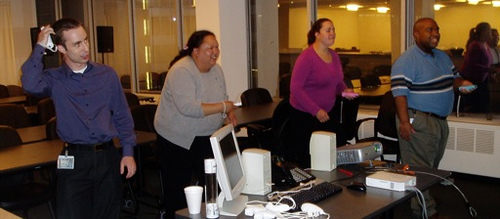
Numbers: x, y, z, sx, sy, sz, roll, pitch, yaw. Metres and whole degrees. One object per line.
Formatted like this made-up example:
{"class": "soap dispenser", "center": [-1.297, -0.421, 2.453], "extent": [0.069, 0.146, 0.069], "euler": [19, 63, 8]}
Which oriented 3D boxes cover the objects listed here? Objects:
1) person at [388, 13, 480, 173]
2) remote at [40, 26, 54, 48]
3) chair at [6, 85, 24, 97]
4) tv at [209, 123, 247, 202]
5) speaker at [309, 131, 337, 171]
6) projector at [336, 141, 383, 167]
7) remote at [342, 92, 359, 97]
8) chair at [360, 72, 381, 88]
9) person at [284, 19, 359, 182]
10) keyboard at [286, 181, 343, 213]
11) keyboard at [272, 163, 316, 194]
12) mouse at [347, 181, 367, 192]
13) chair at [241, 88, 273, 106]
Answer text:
{"class": "person", "center": [2.849, -0.246, 5.717], "extent": [0.997, 2.485, 0.631], "euler": [0, 13, 10]}
{"class": "remote", "center": [-2.729, -0.986, 4.642], "extent": [0.224, 0.245, 0.074], "euler": [-3, 3, -23]}
{"class": "chair", "center": [-6.781, -0.521, 9.946], "extent": [0.361, 0.379, 0.352], "euler": [3, 5, 34]}
{"class": "tv", "center": [-0.265, 0.698, 4.642], "extent": [0.294, 0.919, 0.477], "euler": [5, 14, 28]}
{"class": "speaker", "center": [1.119, 0.632, 5.324], "extent": [0.348, 0.581, 0.338], "euler": [1, 2, 24]}
{"class": "projector", "center": [1.672, 0.691, 5.288], "extent": [0.685, 0.349, 0.222], "euler": [0, 12, 6]}
{"class": "remote", "center": [1.699, -0.249, 5.831], "extent": [0.266, 0.081, 0.159], "euler": [1, 12, 11]}
{"class": "chair", "center": [2.733, -0.682, 7.859], "extent": [0.338, 0.375, 0.360], "euler": [-3, 5, 16]}
{"class": "person", "center": [1.222, -0.243, 5.681], "extent": [1.160, 2.477, 1.228], "euler": [-3, 12, -6]}
{"class": "keyboard", "center": [0.894, 1.206, 4.741], "extent": [0.827, 0.249, 0.223], "euler": [-7, 13, -25]}
{"class": "keyboard", "center": [0.601, 0.988, 4.978], "extent": [0.545, 0.156, 0.362], "euler": [-20, 36, -26]}
{"class": "mouse", "center": [1.501, 1.096, 4.878], "extent": [0.208, 0.059, 0.107], "euler": [8, 10, 33]}
{"class": "chair", "center": [0.107, -0.273, 7.873], "extent": [0.460, 0.520, 0.498], "euler": [-6, 2, -29]}
